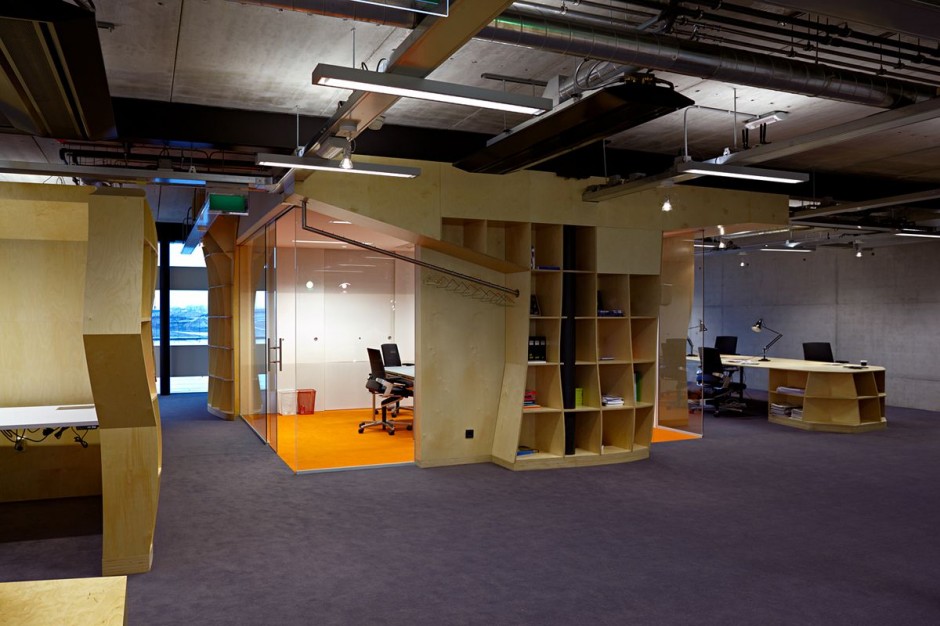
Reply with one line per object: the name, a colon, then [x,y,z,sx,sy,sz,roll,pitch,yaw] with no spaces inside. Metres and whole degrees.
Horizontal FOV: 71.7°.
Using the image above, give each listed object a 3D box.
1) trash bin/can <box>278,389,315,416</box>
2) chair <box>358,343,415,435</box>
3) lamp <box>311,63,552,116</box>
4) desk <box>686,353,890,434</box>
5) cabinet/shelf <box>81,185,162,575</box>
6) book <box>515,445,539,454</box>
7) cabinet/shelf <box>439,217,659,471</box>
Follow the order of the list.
trash bin/can: [-2.938,1.507,10.974,0.540,0.271,0.363,-1,0,-43]
chair: [-1.777,1.398,12.127,1.354,1.887,1.406,-1,-1,0]
lamp: [-0.324,-1.867,5.419,1.930,0.245,0.296,-1,5,-18]
desk: [6.400,1.484,12.264,1.527,1.172,2.206,-3,6,-36]
cabinet/shelf: [-3.300,0.627,6.192,0.572,3.552,1.062,-3,6,-27]
book: [0.805,1.945,9.223,0.239,0.114,0.313,1,5,12]
cabinet/shelf: [1.015,0.435,9.413,3.676,3.978,1.193,1,-3,-25]
